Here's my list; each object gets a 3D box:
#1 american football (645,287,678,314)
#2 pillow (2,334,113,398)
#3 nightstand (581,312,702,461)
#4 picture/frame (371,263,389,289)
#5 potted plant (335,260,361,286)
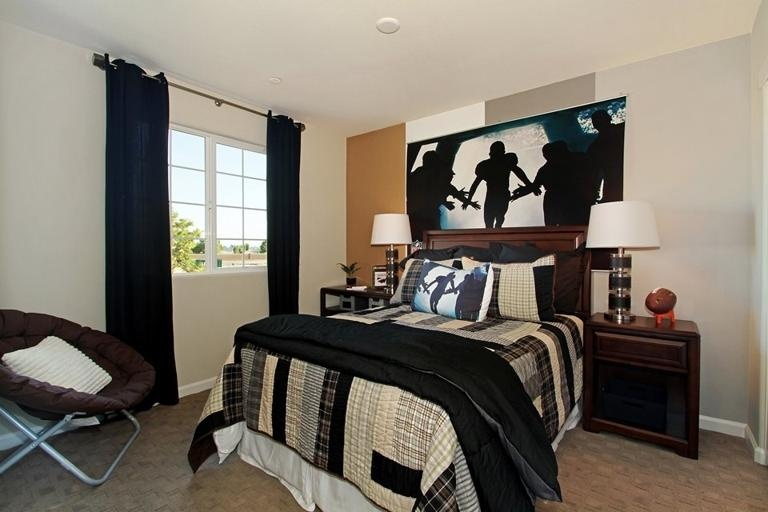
[{"bbox_3d":[2.336,0.366,4.272,0.235,0.191,0.181,-27,32,26],"label":"american football"},{"bbox_3d":[-2.581,0.900,3.935,0.650,0.363,0.314,1,3,2],"label":"pillow"},{"bbox_3d":[2.213,1.066,4.294,0.869,1.047,0.524,3,3,33],"label":"nightstand"},{"bbox_3d":[-0.048,0.238,5.769,0.271,0.260,0.062,6,-6,6],"label":"picture/frame"},{"bbox_3d":[-0.424,0.217,6.175,0.275,0.278,0.268,-2,0,-45],"label":"potted plant"}]
